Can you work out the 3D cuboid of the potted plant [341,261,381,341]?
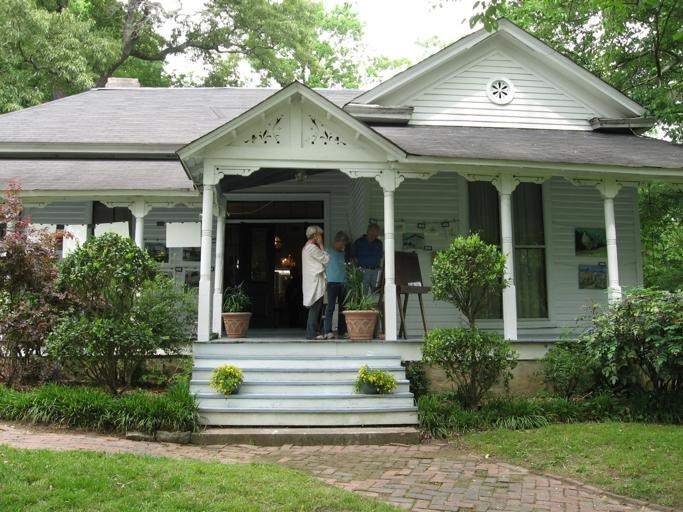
[{"bbox_3d":[0.396,0.995,13.314,0.703,1.454,1.481,2,13,1],"label":"potted plant"}]

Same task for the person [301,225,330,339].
[{"bbox_3d":[-0.530,0.613,13.469,0.524,2.309,1.049,1,13,-2],"label":"person"}]

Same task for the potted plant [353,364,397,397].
[{"bbox_3d":[0.620,2.216,11.962,0.541,0.295,0.531,3,-3,-23],"label":"potted plant"}]

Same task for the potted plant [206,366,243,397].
[{"bbox_3d":[-2.018,2.186,11.875,0.547,0.393,0.524,4,-6,-22],"label":"potted plant"}]
